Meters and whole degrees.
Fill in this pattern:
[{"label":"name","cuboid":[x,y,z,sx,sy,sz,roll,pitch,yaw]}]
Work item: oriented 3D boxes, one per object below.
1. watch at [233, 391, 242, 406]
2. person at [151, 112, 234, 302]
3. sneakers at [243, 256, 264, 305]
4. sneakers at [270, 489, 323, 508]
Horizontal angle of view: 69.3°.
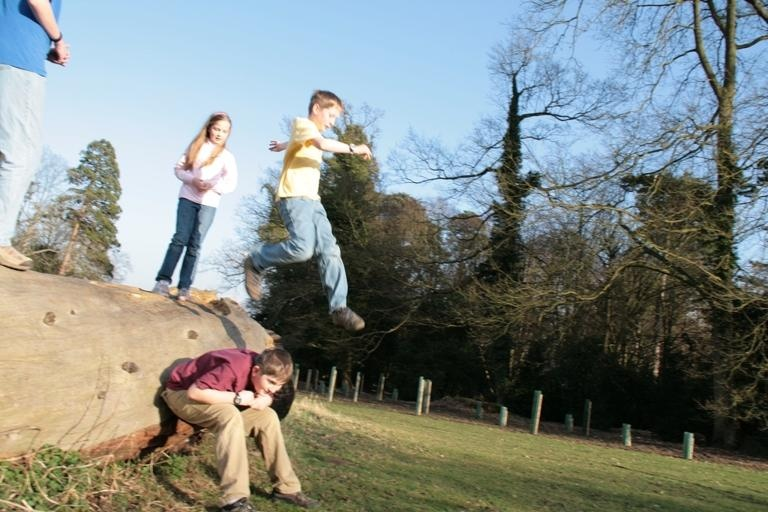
[{"label":"watch","cuboid":[-1.247,1.246,4.727,0.084,0.092,0.108,6,21,-19]},{"label":"person","cuboid":[-1.984,-0.532,5.934,0.435,2.076,0.532,3,-17,25]},{"label":"sneakers","cuboid":[-1.410,0.240,6.001,0.229,0.432,0.233,-6,14,-11]},{"label":"sneakers","cuboid":[-0.763,2.181,4.968,0.492,0.116,0.144,8,-2,-4]}]
